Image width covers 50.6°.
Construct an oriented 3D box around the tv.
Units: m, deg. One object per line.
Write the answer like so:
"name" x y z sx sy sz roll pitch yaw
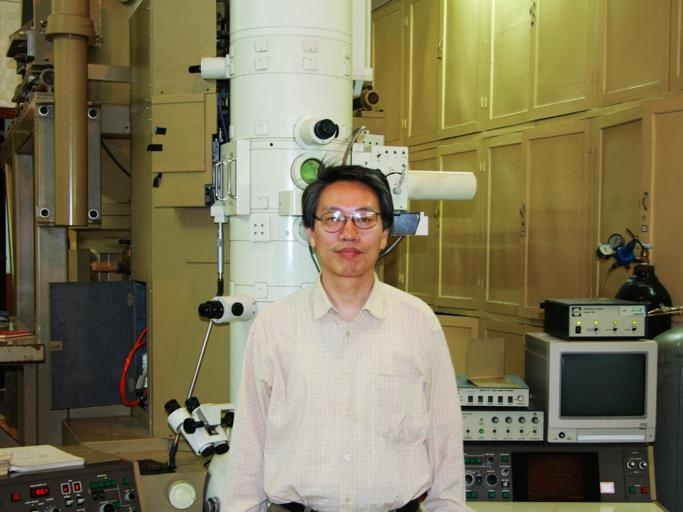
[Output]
"tv" 1.073 0.574 3.251 0.388 0.417 0.451 0 -2 -3
